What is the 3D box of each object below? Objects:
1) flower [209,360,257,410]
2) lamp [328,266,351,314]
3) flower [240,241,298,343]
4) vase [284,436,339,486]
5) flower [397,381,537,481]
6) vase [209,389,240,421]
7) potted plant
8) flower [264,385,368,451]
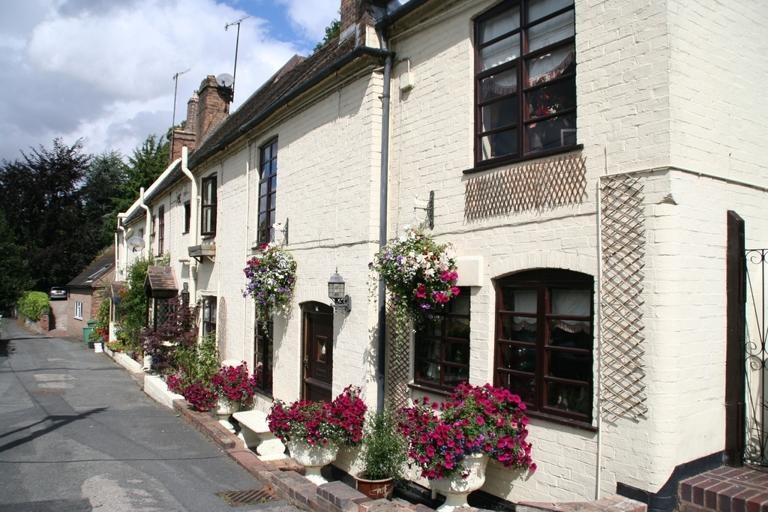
[{"bbox_3d":[-3.421,2.873,14.817,1.118,1.125,1.111,2,-4,-1],"label":"flower"},{"bbox_3d":[-0.812,0.629,11.761,0.367,0.778,0.303,1,9,-23],"label":"lamp"},{"bbox_3d":[-2.546,0.671,13.687,0.815,1.108,0.967,-14,20,-40],"label":"flower"},{"bbox_3d":[-1.240,3.609,11.395,0.785,0.593,0.797,2,-23,-4],"label":"vase"},{"bbox_3d":[1.181,2.474,9.272,1.471,1.080,1.509,2,-7,-5],"label":"flower"},{"bbox_3d":[-3.524,3.310,14.702,0.617,0.586,0.694,4,-15,0],"label":"vase"},{"bbox_3d":[-0.153,3.301,11.007,0.926,1.511,0.879,-1,1,36],"label":"potted plant"},{"bbox_3d":[-1.057,2.770,11.100,1.206,0.699,1.237,-1,-6,14],"label":"flower"}]
